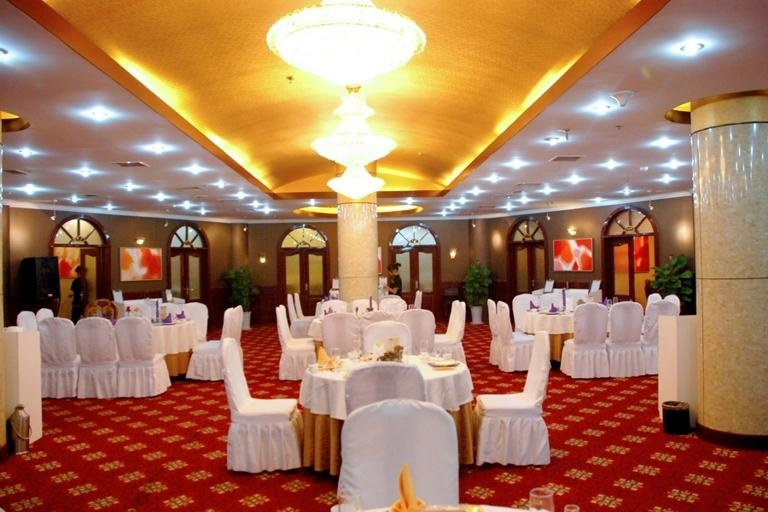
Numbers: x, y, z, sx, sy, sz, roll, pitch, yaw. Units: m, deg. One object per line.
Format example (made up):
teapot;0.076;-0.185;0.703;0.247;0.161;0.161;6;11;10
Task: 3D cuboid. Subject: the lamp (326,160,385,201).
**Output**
lamp;-0.260;-0.973;7.781;0.765;0.514;0.752;-2;-2;-33

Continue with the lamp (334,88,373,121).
lamp;-0.350;-1.779;6.695;0.499;0.383;0.500;-1;9;-1
